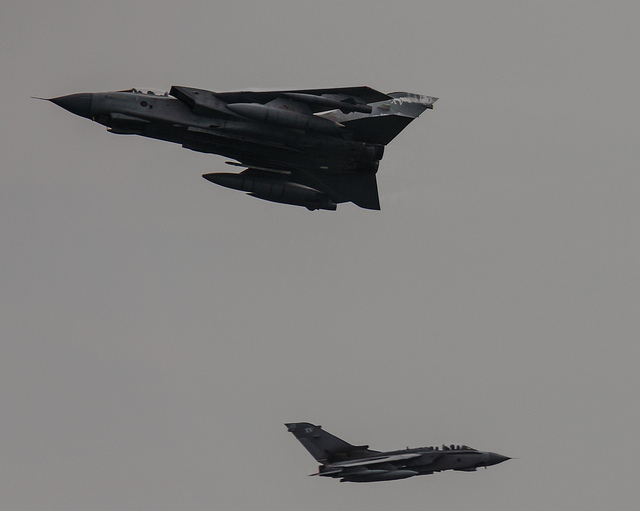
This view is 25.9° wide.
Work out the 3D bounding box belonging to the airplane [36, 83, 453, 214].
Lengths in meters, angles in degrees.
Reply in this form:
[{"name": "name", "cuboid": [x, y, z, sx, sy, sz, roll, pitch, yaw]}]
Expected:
[{"name": "airplane", "cuboid": [-1.501, -1.811, 29.322, 8.066, 2.258, 3.704, 7, -35, -7]}]
